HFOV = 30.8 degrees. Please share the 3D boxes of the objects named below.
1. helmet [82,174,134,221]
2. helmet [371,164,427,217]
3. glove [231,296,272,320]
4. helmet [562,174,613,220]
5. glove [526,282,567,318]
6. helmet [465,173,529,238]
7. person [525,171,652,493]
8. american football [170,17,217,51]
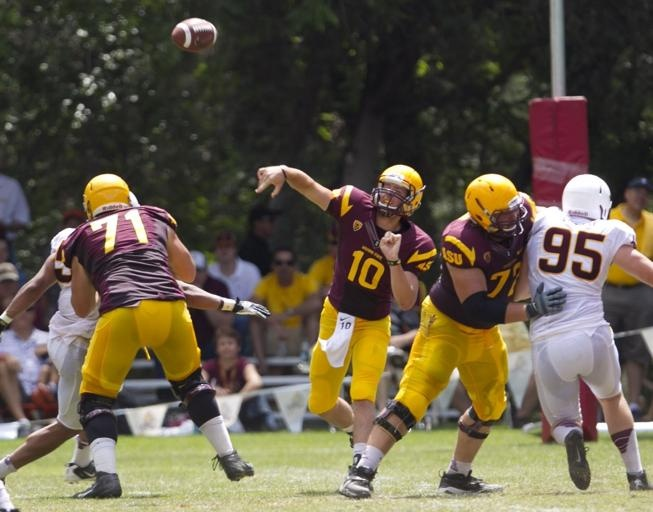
[{"bbox_3d":[-1.756,-0.470,9.524,0.352,0.414,0.441,-11,-5,-22],"label":"helmet"},{"bbox_3d":[0.517,-0.508,9.393,0.331,0.346,0.418,15,-12,-16],"label":"helmet"},{"bbox_3d":[-0.740,0.524,11.780,0.421,0.120,0.269,26,5,-22],"label":"glove"},{"bbox_3d":[1.971,-0.416,9.062,0.289,0.330,0.395,-9,-18,37],"label":"helmet"},{"bbox_3d":[1.622,0.331,8.734,0.281,0.262,0.187,-1,-2,19],"label":"glove"},{"bbox_3d":[1.271,-0.421,8.958,0.490,0.417,0.379,17,30,27],"label":"helmet"},{"bbox_3d":[1.938,0.556,8.819,0.871,2.332,0.398,-1,-1,9],"label":"person"},{"bbox_3d":[-1.147,-1.944,10.486,0.465,0.308,0.297,-14,19,-39],"label":"american football"}]
